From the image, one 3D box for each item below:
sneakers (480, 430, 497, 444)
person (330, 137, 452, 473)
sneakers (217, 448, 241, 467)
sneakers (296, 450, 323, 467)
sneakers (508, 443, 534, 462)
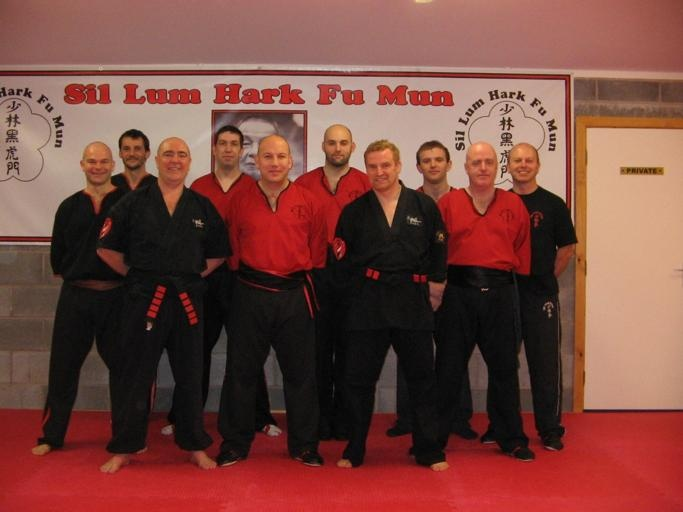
[{"bbox_3d":[1.221,1.508,5.865,0.106,0.082,0.204,-2,-16,4],"label":"sneakers"},{"bbox_3d":[0.374,0.373,5.416,0.878,2.434,0.614,0,12,-1],"label":"person"},{"bbox_3d":[-0.878,1.545,5.422,0.179,0.076,0.093,-1,25,-15],"label":"sneakers"},{"bbox_3d":[-0.248,1.551,5.426,0.208,0.084,0.102,-7,-10,33],"label":"sneakers"},{"bbox_3d":[1.429,1.552,5.548,0.088,0.067,0.167,2,-6,-23],"label":"sneakers"}]
